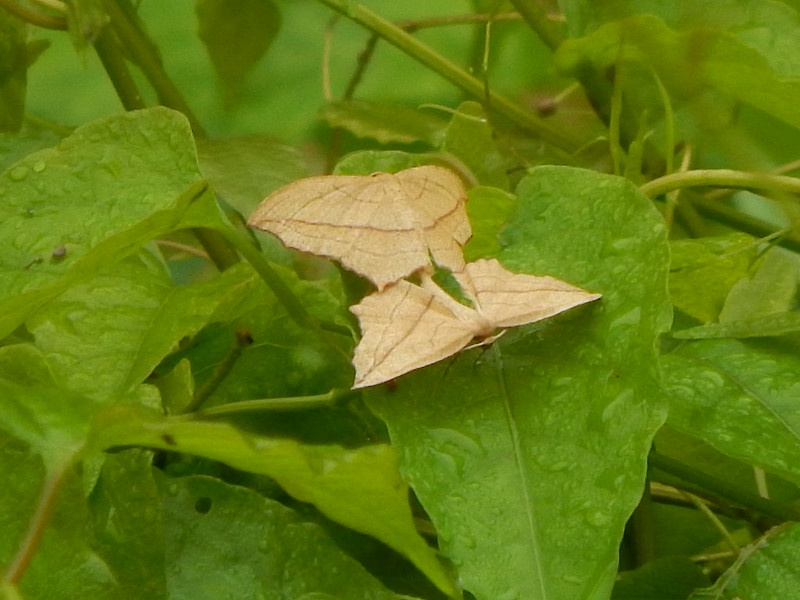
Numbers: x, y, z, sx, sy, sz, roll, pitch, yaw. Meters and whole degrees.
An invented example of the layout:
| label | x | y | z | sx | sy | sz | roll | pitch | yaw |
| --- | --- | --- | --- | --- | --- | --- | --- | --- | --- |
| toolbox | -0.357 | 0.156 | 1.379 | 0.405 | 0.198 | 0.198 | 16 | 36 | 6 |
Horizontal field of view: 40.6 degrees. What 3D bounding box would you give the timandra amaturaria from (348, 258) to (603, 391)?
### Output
| label | x | y | z | sx | sy | sz | roll | pitch | yaw |
| --- | --- | --- | --- | --- | --- | --- | --- | --- | --- |
| timandra amaturaria | 0.023 | 0.027 | 0.577 | 0.110 | 0.018 | 0.061 | -18 | 54 | -8 |
